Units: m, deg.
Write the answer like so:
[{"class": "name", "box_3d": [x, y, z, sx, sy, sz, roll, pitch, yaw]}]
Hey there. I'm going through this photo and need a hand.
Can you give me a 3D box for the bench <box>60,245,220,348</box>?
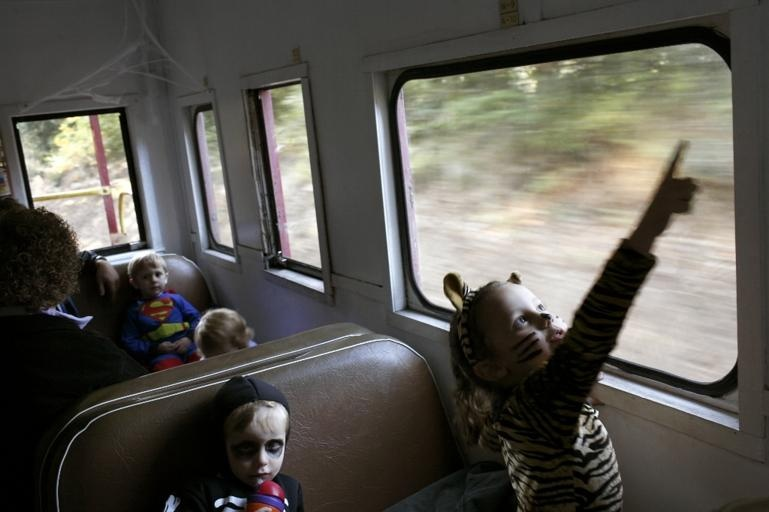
[{"class": "bench", "box_3d": [-1.818, 0.270, 4.225, 0.770, 0.651, 0.563, -29, 1, -17]}]
